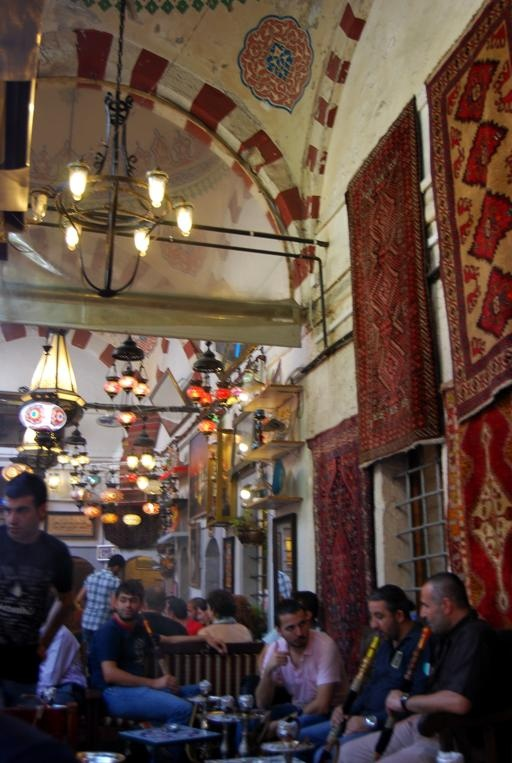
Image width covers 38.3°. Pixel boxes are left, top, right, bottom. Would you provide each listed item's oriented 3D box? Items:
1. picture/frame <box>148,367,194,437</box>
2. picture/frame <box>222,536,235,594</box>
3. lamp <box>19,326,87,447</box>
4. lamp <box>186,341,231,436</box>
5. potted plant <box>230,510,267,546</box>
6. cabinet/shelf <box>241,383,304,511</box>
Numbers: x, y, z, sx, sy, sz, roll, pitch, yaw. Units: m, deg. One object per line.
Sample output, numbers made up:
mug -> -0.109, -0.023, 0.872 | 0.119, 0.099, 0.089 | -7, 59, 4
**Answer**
picture/frame -> -2.255, 0.441, 18.771 | 0.460, 1.763, 1.621 | -14, -32, -25
picture/frame -> -0.475, 3.392, 13.096 | 0.074, 0.660, 0.384 | 5, -10, -28
lamp -> -3.307, 0.103, 12.079 | 0.975, 2.082, 2.470 | 6, -14, -15
lamp -> -0.677, 0.031, 10.414 | 0.681, 1.449, 0.666 | 0, -2, 31
potted plant -> -0.078, 2.043, 10.218 | 0.502, 0.435, 0.428 | -2, -14, 13
cabinet/shelf -> 0.213, 0.764, 8.712 | 0.491, 1.323, 1.513 | 5, -17, -11
